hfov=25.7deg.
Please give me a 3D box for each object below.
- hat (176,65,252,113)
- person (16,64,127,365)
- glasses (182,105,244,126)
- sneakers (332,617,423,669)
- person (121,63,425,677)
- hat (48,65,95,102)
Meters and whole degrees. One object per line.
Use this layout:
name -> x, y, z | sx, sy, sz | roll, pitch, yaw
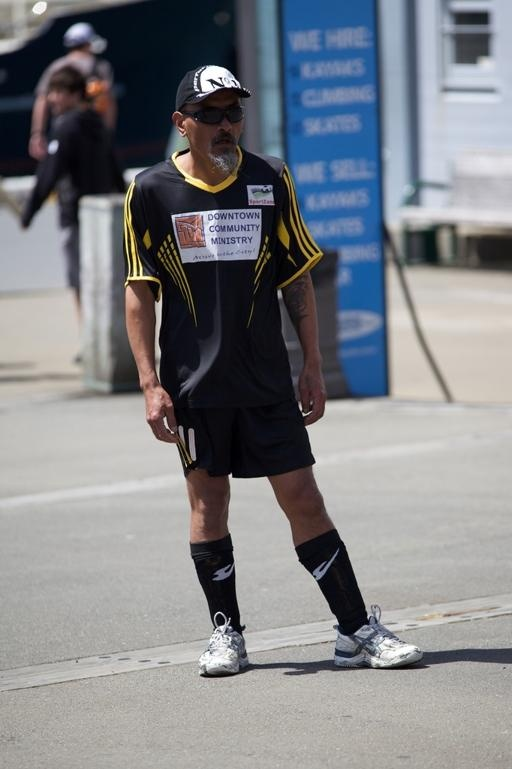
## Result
hat -> -0.131, -0.767, 2.952 | 0.126, 0.083, 0.166 | -5, -3, -26
person -> -1.271, -1.359, 7.832 | 0.364, 1.709, 0.899 | 2, 12, 24
glasses -> -0.112, -0.698, 2.917 | 0.156, 0.054, 0.074 | -3, 10, -4
sneakers -> 0.314, 0.707, 3.070 | 0.264, 0.149, 0.103 | -1, -1, 24
person -> 0.005, -0.041, 3.029 | 0.691, 1.599, 0.391 | -2, 11, 5
hat -> -1.312, -2.105, 7.843 | 0.282, 0.242, 0.184 | -4, 11, -9
